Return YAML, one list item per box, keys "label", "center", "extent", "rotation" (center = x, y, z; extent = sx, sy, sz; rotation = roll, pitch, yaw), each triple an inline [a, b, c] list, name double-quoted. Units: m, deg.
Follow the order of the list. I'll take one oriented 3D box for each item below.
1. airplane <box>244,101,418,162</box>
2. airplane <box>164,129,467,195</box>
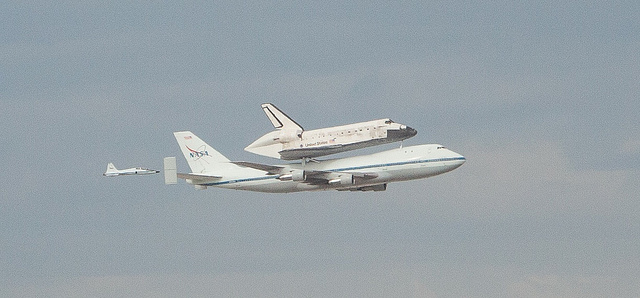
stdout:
- label: "airplane"
  center: [0.482, -0.572, 119.530]
  extent: [11.300, 3.065, 8.830]
  rotation: [-8, 9, 10]
- label: "airplane"
  center: [0.015, 0.815, 122.039]
  extent: [29.610, 5.534, 20.688]
  rotation: [-4, 11, 9]
